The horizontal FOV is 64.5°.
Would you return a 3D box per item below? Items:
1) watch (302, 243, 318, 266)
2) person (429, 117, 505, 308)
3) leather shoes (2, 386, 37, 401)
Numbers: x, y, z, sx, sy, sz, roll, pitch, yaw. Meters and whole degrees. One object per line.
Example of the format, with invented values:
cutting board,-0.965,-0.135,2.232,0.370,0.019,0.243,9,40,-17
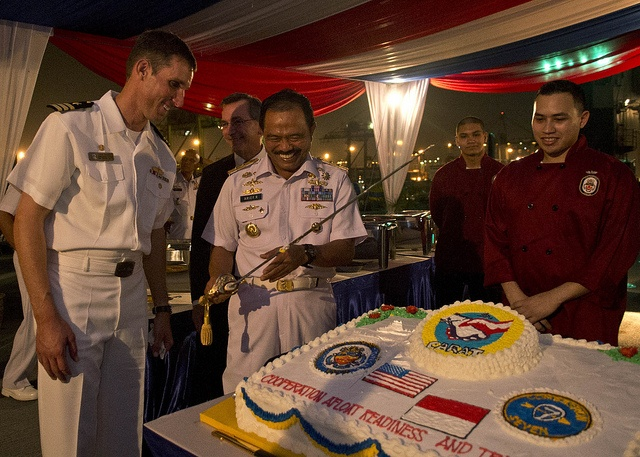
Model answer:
watch,-0.055,0.137,2.749,0.075,0.116,0.101,6,-24,-37
person,1.426,0.186,5.057,0.744,2.434,0.661,0,23,6
leather shoes,-2.668,1.455,4.506,0.322,0.132,0.127,1,-3,6
